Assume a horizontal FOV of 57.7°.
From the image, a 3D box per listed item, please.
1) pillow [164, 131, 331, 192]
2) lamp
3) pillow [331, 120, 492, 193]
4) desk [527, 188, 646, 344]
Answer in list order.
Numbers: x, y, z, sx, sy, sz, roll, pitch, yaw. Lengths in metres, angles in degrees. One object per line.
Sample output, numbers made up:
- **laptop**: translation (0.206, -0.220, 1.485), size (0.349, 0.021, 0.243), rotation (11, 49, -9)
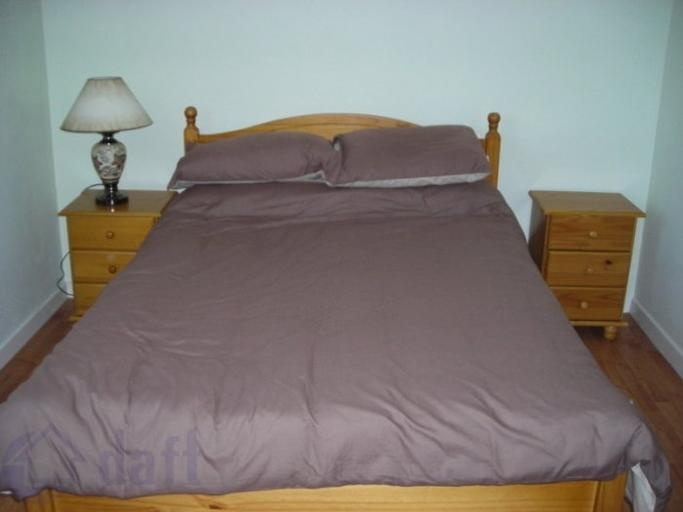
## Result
- **pillow**: translation (-0.469, -0.518, 3.309), size (0.607, 0.155, 0.393), rotation (-3, 41, 2)
- **lamp**: translation (-1.310, -0.640, 3.491), size (0.455, 0.699, 0.465), rotation (5, 19, 3)
- **pillow**: translation (0.366, -0.527, 3.295), size (0.632, 0.162, 0.396), rotation (-1, 38, 1)
- **desk**: translation (1.415, 0.033, 3.729), size (0.593, 0.781, 0.568), rotation (-4, 24, -1)
